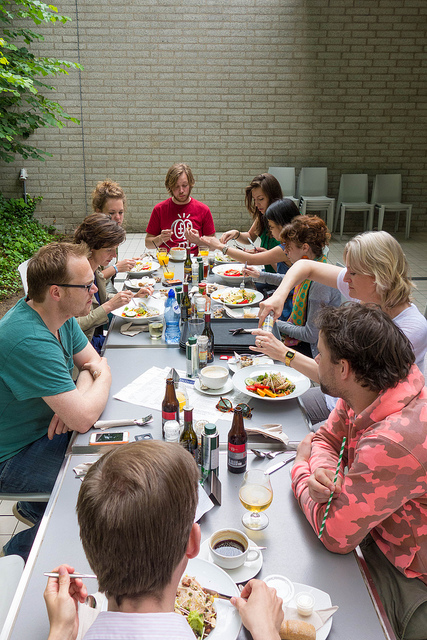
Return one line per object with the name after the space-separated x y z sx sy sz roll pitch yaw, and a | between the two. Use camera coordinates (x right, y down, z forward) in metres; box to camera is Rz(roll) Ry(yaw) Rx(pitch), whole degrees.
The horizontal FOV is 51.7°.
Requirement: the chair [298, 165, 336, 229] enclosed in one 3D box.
1.722 -1.939 7.391 0.655 0.989 0.608 -15 11 -6 | chair

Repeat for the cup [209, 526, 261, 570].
0.052 0.536 1.032 0.098 0.044 0.075 12 25 3 | cup

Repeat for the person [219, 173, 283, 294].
0.416 -0.693 4.180 0.738 1.265 0.510 -8 15 -14 | person

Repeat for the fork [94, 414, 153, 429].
-0.322 0.363 1.578 0.172 0.043 0.031 -2 19 -4 | fork

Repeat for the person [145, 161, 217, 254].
-0.332 -0.897 4.289 0.730 1.117 0.628 2 25 0 | person

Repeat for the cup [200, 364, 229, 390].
0.005 0.226 1.810 0.092 0.058 0.100 1 18 0 | cup

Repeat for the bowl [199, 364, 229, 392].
0.006 0.229 1.826 0.096 0.063 0.104 1 16 0 | bowl

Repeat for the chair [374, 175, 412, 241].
2.984 -1.889 7.409 0.628 0.970 0.634 -6 26 -10 | chair

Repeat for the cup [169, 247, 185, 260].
-0.316 -0.594 3.877 0.112 0.071 0.112 2 26 -1 | cup

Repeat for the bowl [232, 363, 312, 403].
0.228 0.254 1.818 0.191 0.049 0.188 0 23 0 | bowl

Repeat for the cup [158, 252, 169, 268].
-0.373 -0.467 3.478 0.102 0.112 0.101 -1 10 0 | cup

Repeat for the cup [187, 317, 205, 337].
-0.083 0.029 2.136 0.083 0.092 0.082 -1 15 0 | cup

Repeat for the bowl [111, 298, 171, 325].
-0.436 -0.055 2.628 0.232 0.048 0.230 -1 25 0 | bowl
